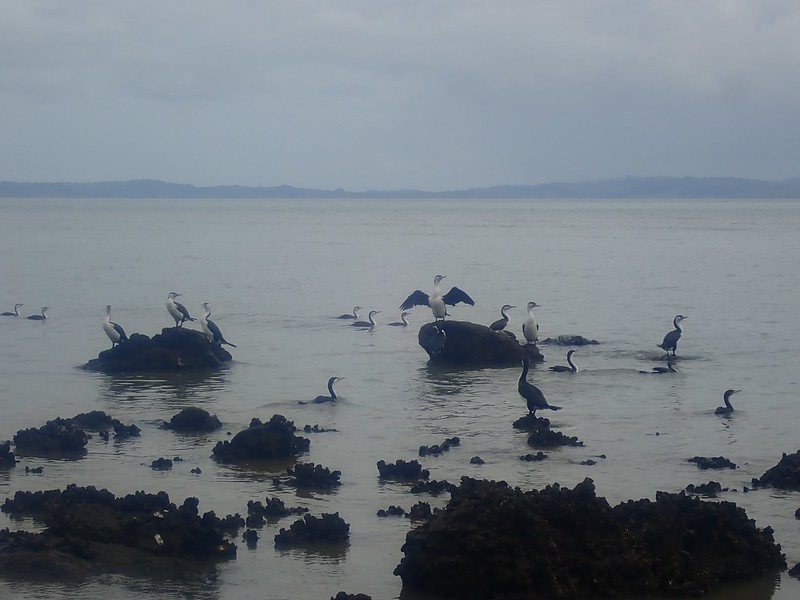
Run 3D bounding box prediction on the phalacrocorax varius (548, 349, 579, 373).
[{"bbox_3d":[5.301,1.978,57.766,1.105,0.810,0.508,0,8,7],"label":"phalacrocorax varius"}]
